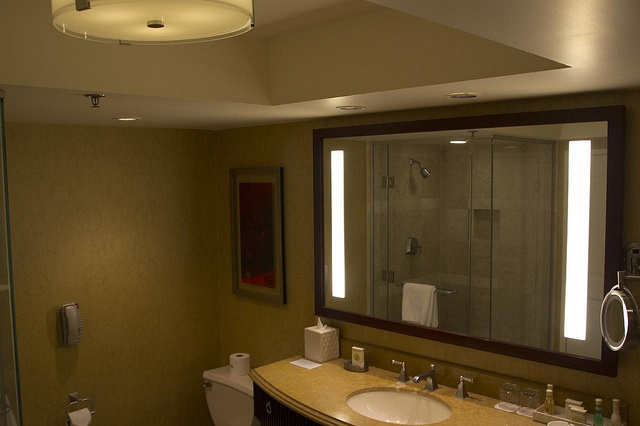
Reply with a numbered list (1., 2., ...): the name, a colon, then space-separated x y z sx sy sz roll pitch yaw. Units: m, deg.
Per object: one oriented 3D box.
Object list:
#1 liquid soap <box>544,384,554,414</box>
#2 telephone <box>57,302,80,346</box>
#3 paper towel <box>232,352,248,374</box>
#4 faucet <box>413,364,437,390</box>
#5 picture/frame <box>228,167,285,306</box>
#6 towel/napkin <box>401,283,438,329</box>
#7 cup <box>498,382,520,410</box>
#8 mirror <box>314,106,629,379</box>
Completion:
1. liquid soap: 1.266 1.024 2.798 0.047 0.151 0.143 0 5 25
2. telephone: -1.800 0.818 3.637 0.080 0.327 0.144 3 6 45
3. paper towel: -0.634 1.200 4.051 0.131 0.104 0.129 -2 3 -39
4. faucet: 0.626 1.026 3.125 0.080 0.180 0.239 -9 -13 44
5. picture/frame: -0.523 0.178 4.053 0.069 1.109 0.722 -3 3 -43
6. towel/napkin: 0.647 0.593 3.242 0.294 0.353 0.125 0 1 43
7. cup: 1.085 1.045 2.918 0.114 0.123 0.122 1 -2 0
8. mirror: 0.785 0.109 3.139 1.856 1.434 0.029 4 3 33
